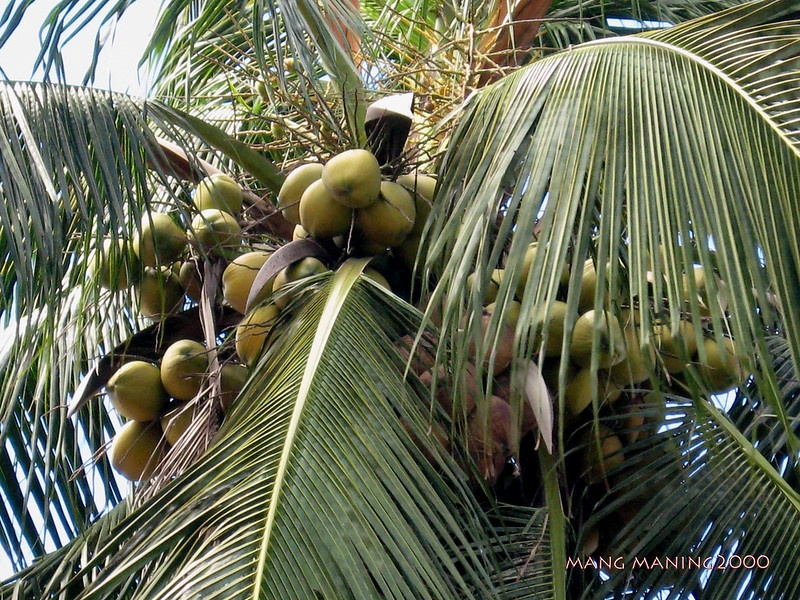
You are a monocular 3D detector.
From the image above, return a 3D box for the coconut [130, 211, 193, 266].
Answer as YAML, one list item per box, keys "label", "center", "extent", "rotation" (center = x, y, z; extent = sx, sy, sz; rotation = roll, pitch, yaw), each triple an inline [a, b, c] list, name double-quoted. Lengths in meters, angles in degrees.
- label: "coconut"
  center: [-0.694, -0.167, 2.591]
  extent: [0.167, 0.219, 0.167]
  rotation: [-3, 4, -8]

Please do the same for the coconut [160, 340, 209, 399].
- label: "coconut"
  center: [-0.612, 0.209, 2.589]
  extent: [0.114, 0.140, 0.169]
  rotation: [2, 24, -1]

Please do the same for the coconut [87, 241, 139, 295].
- label: "coconut"
  center: [-0.803, -0.089, 2.518]
  extent: [0.108, 0.144, 0.111]
  rotation: [15, 20, 39]

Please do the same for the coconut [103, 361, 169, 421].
- label: "coconut"
  center: [-0.742, 0.257, 2.506]
  extent: [0.160, 0.146, 0.123]
  rotation: [5, -2, -27]

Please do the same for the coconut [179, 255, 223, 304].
- label: "coconut"
  center: [-0.598, -0.060, 2.661]
  extent: [0.129, 0.179, 0.141]
  rotation: [0, 6, 13]
